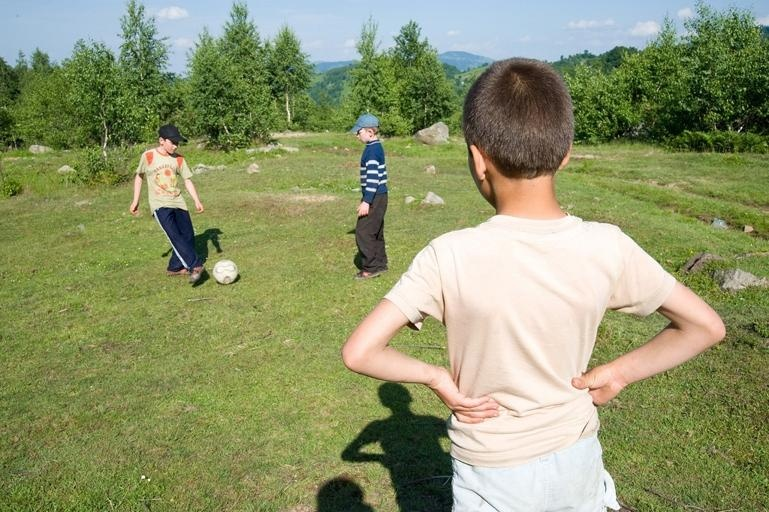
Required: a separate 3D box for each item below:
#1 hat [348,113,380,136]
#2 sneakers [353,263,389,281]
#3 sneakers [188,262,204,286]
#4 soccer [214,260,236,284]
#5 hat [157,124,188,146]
[{"bbox_3d":[-0.412,-2.381,9.604,0.627,0.356,0.460,0,19,4],"label":"hat"},{"bbox_3d":[-0.271,0.280,9.867,0.589,0.244,0.216,-4,11,-14],"label":"sneakers"},{"bbox_3d":[-3.400,0.312,9.621,0.182,0.221,0.475,-10,-13,-34],"label":"sneakers"},{"bbox_3d":[-2.934,0.260,9.680,0.417,0.394,0.408,4,19,-34],"label":"soccer"},{"bbox_3d":[-4.006,-2.261,9.884,0.388,0.370,0.863,-10,20,-22],"label":"hat"}]
